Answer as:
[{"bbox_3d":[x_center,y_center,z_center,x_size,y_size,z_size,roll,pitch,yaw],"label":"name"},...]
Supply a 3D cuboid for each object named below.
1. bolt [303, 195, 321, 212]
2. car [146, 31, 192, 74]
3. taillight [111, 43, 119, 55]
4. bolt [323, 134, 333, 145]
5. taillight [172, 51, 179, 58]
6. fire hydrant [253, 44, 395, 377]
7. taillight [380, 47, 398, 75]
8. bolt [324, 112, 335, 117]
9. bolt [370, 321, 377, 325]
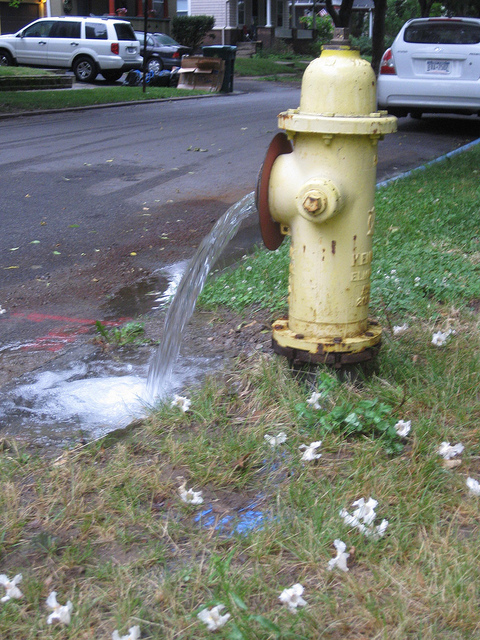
[{"bbox_3d":[0.262,-0.428,2.114,0.061,0.053,0.015,17,11,34],"label":"bolt"},{"bbox_3d":[-3.151,-11.542,24.775,1.684,1.796,2.209,-4,16,-18],"label":"car"},{"bbox_3d":[-4.848,-10.491,22.254,0.288,0.344,0.193,-2,16,-12],"label":"taillight"},{"bbox_3d":[0.323,-0.667,2.126,0.033,0.040,0.031,0,4,-5],"label":"bolt"},{"bbox_3d":[-2.729,-11.201,24.341,0.242,0.236,0.228,-10,30,-23],"label":"taillight"},{"bbox_3d":[0.320,-0.403,2.322,0.565,1.343,0.446,5,17,12],"label":"fire hydrant"},{"bbox_3d":[2.737,-4.749,10.637,0.370,0.514,0.167,7,25,11],"label":"taillight"},{"bbox_3d":[0.332,-0.760,2.131,0.040,0.014,0.052,2,3,10],"label":"bolt"},{"bbox_3d":[0.599,0.015,2.581,0.019,0.017,0.019,1,12,11],"label":"bolt"}]
